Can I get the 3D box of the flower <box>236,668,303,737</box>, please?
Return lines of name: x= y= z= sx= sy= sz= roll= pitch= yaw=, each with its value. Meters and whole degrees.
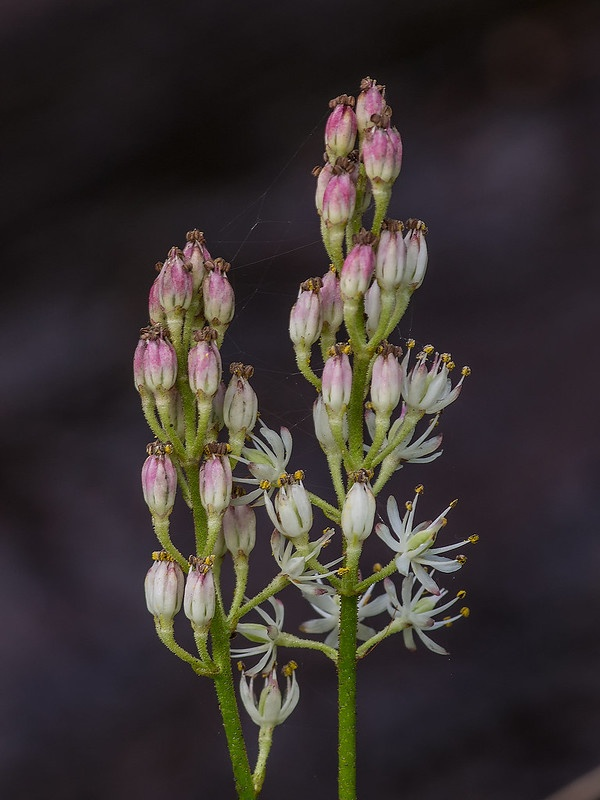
flower: x=-0.089 y=0.760 z=3.230 sx=0.130 sy=0.196 sz=0.134 roll=5 pitch=-15 yaw=-15

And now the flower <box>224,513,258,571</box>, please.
flower: x=-0.151 y=0.322 z=3.155 sx=0.078 sy=0.140 sz=0.058 roll=-7 pitch=18 yaw=-4

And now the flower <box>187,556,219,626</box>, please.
flower: x=-0.235 y=0.438 z=2.984 sx=0.076 sy=0.146 sz=0.106 roll=-7 pitch=18 yaw=-5

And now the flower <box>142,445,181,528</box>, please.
flower: x=-0.326 y=0.186 z=2.998 sx=0.079 sy=0.178 sz=0.108 roll=-8 pitch=18 yaw=-5

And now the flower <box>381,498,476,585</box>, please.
flower: x=0.290 y=0.340 z=3.173 sx=0.171 sy=0.200 sz=0.263 roll=2 pitch=19 yaw=22

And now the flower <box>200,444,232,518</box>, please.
flower: x=-0.197 y=0.178 z=3.011 sx=0.063 sy=0.182 sz=0.059 roll=12 pitch=26 yaw=25

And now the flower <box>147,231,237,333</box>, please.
flower: x=-0.268 y=-0.260 z=3.074 sx=0.213 sy=0.261 sz=0.146 roll=-12 pitch=18 yaw=-18

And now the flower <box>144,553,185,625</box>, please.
flower: x=-0.313 y=0.429 z=2.980 sx=0.091 sy=0.152 sz=0.092 roll=-8 pitch=18 yaw=-6

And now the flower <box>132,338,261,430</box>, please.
flower: x=-0.248 y=-0.034 z=2.936 sx=0.191 sy=0.234 sz=0.084 roll=5 pitch=-10 yaw=-19

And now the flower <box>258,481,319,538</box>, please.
flower: x=-0.011 y=0.259 z=3.052 sx=0.098 sy=0.127 sz=0.096 roll=-20 pitch=5 yaw=-35

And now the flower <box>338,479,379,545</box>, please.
flower: x=0.130 y=0.264 z=3.004 sx=0.082 sy=0.169 sz=0.117 roll=-6 pitch=18 yaw=1

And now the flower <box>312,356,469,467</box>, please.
flower: x=0.212 y=0.023 z=3.174 sx=0.367 sy=0.334 sz=0.333 roll=-2 pitch=18 yaw=12

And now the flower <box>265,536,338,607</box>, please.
flower: x=0.019 y=0.401 z=3.117 sx=0.191 sy=0.165 sz=0.096 roll=7 pitch=22 yaw=35

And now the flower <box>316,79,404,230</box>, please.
flower: x=0.128 y=-0.580 z=3.090 sx=0.207 sy=0.340 sz=0.256 roll=-5 pitch=18 yaw=2
